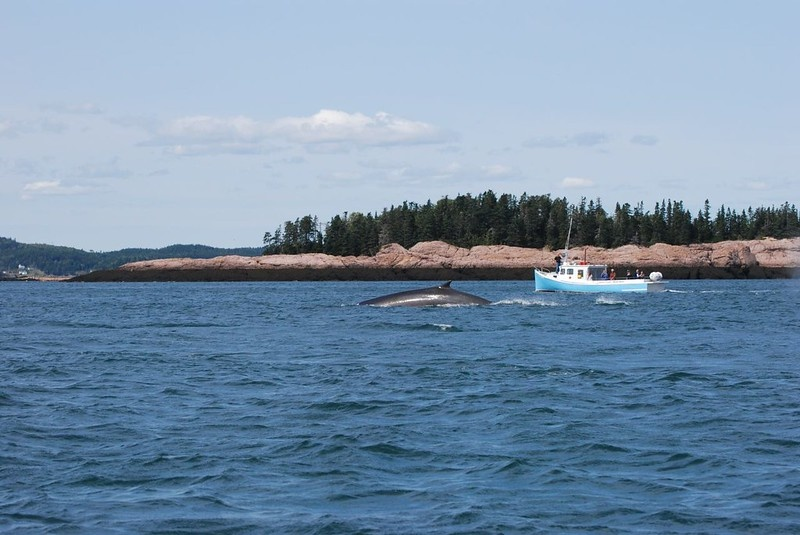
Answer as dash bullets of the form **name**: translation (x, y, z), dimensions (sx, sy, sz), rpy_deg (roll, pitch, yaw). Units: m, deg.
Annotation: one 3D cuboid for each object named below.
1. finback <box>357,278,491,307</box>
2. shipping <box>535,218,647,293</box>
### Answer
- **finback**: translation (1.752, 1.658, 87.060), dimensions (7.500, 1.646, 2.957), rpy_deg (0, -1, -1)
- **shipping**: translation (16.404, -0.201, 114.010), dimensions (11.667, 4.179, 3.123), rpy_deg (2, 13, 30)
